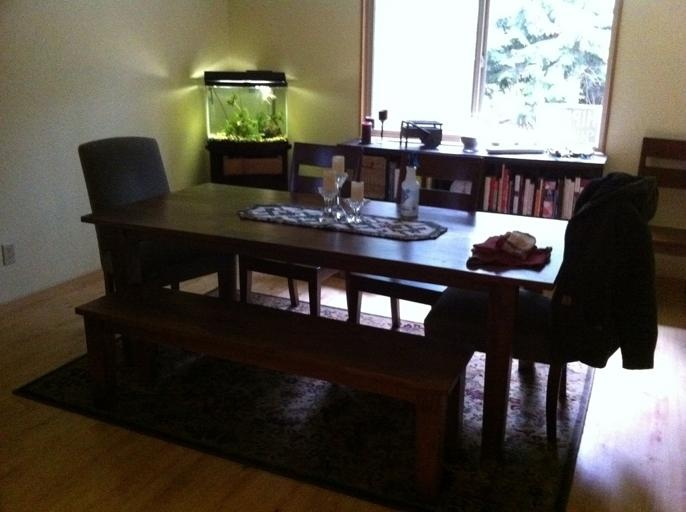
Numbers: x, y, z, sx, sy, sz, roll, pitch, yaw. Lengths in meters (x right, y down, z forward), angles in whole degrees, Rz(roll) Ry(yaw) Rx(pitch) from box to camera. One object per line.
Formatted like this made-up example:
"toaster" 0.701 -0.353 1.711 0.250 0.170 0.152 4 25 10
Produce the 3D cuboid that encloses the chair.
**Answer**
"chair" 0.080 0.112 2.822 2.645 1.174 0.921 6 19 18

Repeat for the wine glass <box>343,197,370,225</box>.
"wine glass" 0.060 -0.254 2.816 0.137 0.092 0.138 -8 26 -13
